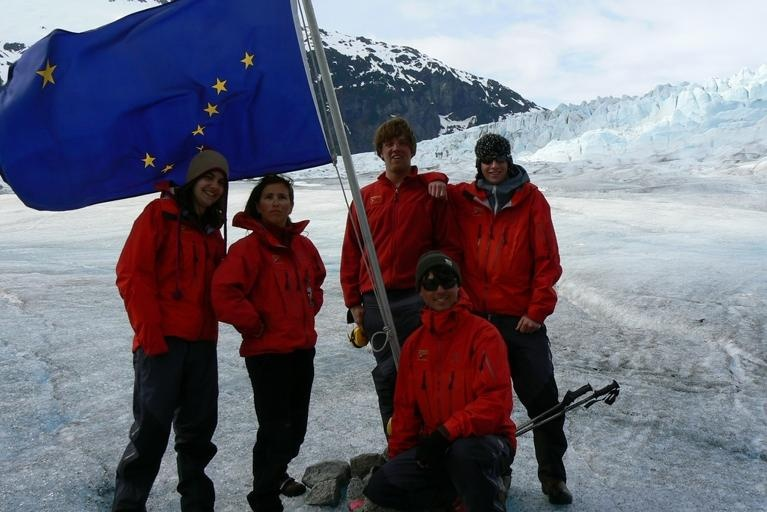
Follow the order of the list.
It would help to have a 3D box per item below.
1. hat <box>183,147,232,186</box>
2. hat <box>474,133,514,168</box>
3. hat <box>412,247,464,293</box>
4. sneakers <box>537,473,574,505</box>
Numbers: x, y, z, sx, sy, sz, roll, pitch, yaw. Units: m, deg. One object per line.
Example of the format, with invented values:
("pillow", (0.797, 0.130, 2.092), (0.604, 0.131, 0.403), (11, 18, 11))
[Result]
("hat", (-1.511, -0.608, 4.634), (0.318, 0.289, 0.289), (-1, -12, 37))
("hat", (1.063, -0.842, 5.034), (0.298, 0.284, 0.304), (-7, -5, -4))
("hat", (0.451, 0.161, 4.345), (0.273, 0.255, 0.343), (-14, -22, -2))
("sneakers", (1.519, 1.962, 4.637), (0.160, 0.267, 0.279), (-16, -24, -30))
